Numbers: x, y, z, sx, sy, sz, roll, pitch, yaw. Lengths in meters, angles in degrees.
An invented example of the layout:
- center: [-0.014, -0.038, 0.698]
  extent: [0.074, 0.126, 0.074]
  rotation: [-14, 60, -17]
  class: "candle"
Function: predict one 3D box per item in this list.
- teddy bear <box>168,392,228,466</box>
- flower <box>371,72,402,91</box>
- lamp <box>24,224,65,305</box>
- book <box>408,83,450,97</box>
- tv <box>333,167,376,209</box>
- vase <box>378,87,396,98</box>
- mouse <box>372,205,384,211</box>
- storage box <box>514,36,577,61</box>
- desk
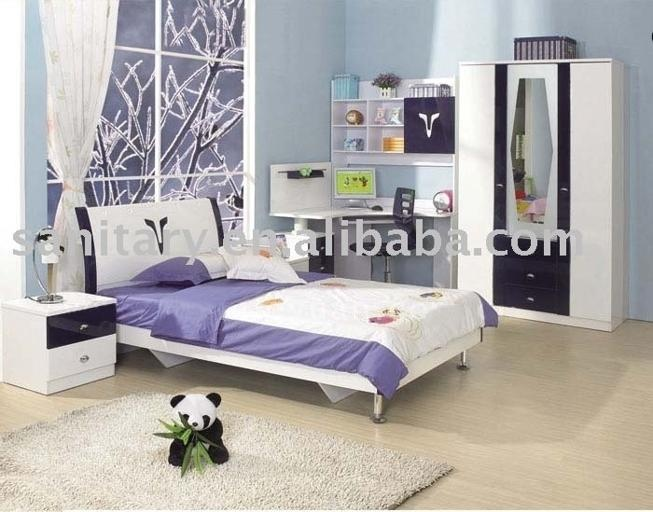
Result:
- center: [-0.667, 0.893, 2.916]
  extent: [0.323, 0.341, 0.301]
  rotation: [2, 9, 1]
  class: "teddy bear"
- center: [0.729, -2.103, 6.744]
  extent: [0.249, 0.169, 0.251]
  rotation: [3, 12, 16]
  class: "flower"
- center: [-2.011, 0.075, 3.980]
  extent: [0.226, 0.512, 0.175]
  rotation: [0, 0, -24]
  class: "lamp"
- center: [1.178, -1.926, 6.461]
  extent: [0.262, 0.114, 0.275]
  rotation: [5, 14, 22]
  class: "book"
- center: [0.355, -0.867, 7.066]
  extent: [0.693, 0.663, 0.344]
  rotation: [0, 0, 3]
  class: "tv"
- center: [0.725, -1.974, 6.749]
  extent: [0.151, 0.092, 0.153]
  rotation: [8, 11, 38]
  class: "vase"
- center: [0.615, -0.588, 6.785]
  extent: [0.089, 0.052, 0.159]
  rotation: [0, 3, 1]
  class: "mouse"
- center: [2.169, -2.057, 5.520]
  extent: [0.592, 0.254, 0.299]
  rotation: [3, 9, 14]
  class: "storage box"
- center: [0.248, -0.327, 6.402]
  extent: [1.323, 0.844, 1.339]
  rotation: [2, 5, 32]
  class: "desk"
